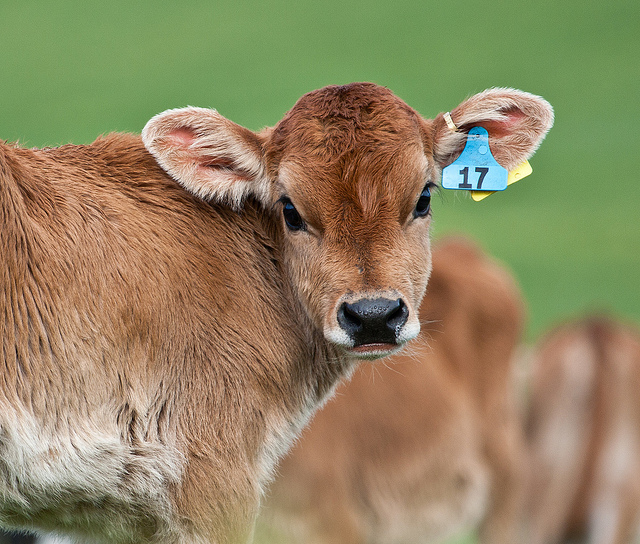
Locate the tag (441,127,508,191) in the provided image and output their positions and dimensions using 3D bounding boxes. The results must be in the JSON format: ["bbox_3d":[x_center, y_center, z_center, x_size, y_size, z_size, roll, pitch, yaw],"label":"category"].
[{"bbox_3d":[0.890,-0.669,5.738,0.357,0.025,0.355,3,83,-7],"label":"tag"}]
